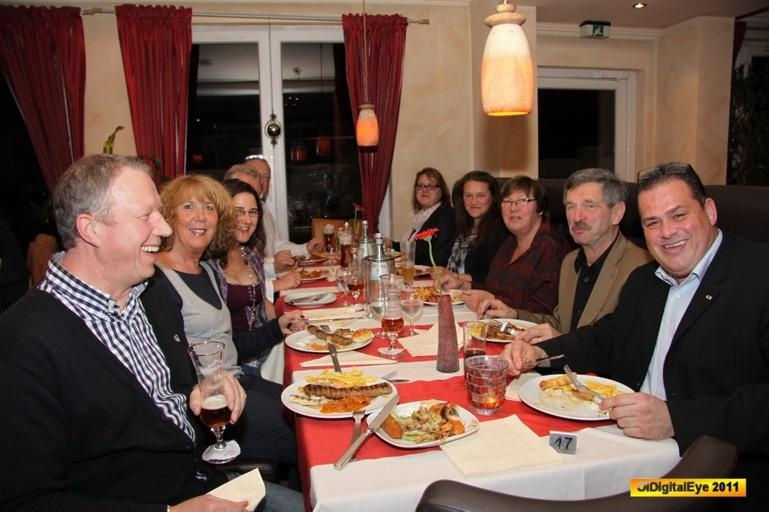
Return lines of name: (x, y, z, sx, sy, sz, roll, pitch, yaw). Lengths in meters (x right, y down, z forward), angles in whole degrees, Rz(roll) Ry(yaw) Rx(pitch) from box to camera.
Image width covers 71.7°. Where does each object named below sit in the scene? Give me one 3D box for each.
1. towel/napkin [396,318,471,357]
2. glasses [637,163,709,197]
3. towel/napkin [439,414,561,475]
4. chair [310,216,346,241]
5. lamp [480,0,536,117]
towel/napkin: (0.207, 0.385, 2.428, 0.188, 0.048, 0.195, -8, 14, -3)
glasses: (1.213, -0.309, 2.215, 0.182, 0.192, 0.059, -5, 29, 42)
towel/napkin: (0.355, 0.609, 1.713, 0.170, 0.026, 0.178, -10, 17, -14)
chair: (-0.620, -0.326, 5.827, 0.296, 0.372, 0.309, 1, -6, -7)
lamp: (0.652, -1.030, 2.834, 0.261, 0.521, 0.159, -2, 14, 10)
